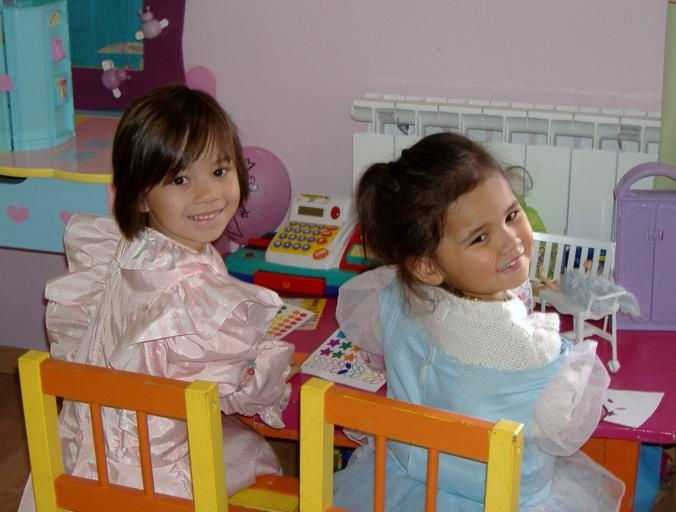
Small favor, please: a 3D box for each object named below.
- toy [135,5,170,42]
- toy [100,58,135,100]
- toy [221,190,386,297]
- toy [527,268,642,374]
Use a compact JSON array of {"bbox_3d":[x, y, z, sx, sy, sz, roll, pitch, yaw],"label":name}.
[{"bbox_3d":[-0.630,-0.780,1.934,0.132,0.104,0.031,7,9,21],"label":"toy"},{"bbox_3d":[-0.768,-0.635,2.011,0.088,0.148,0.051,-14,8,2],"label":"toy"},{"bbox_3d":[-0.081,-0.018,1.681,0.332,0.131,0.324,7,31,24],"label":"toy"},{"bbox_3d":[0.577,0.158,1.373,0.175,0.216,0.178,4,2,-43],"label":"toy"}]
